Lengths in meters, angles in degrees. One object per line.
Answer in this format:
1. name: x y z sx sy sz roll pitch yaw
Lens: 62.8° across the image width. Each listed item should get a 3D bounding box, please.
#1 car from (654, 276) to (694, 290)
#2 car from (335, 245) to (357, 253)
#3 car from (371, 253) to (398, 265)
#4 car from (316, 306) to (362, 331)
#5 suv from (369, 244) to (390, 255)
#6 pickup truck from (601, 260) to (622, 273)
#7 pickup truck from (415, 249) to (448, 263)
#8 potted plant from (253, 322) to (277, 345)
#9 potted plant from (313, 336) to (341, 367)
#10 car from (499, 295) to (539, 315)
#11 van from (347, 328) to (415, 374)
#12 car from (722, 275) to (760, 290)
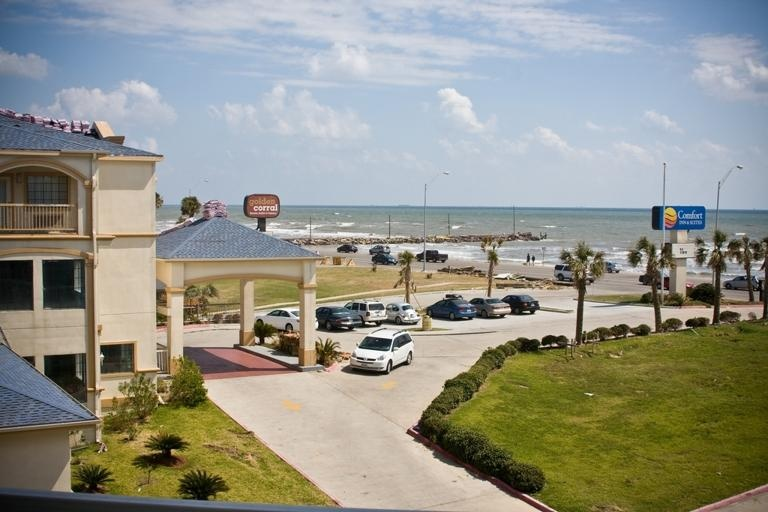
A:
1. car: 25.889 2.492 56.382 3.824 1.293 1.958 -3 3 16
2. car: -6.699 -1.148 106.612 2.854 1.069 1.631 8 9 35
3. car: -0.010 0.489 88.035 3.266 1.245 1.542 -2 4 10
4. car: -3.157 4.285 42.404 1.442 0.786 3.051 -3 7 -38
5. suv: -1.078 -0.907 101.557 3.212 1.398 1.740 5 6 22
6. pickup truck: 26.854 1.323 73.857 2.582 0.932 1.694 -4 8 -15
7. pickup truck: 6.953 0.147 95.730 4.284 1.415 2.226 3 3 19
8. potted plant: -7.274 4.678 38.057 1.382 1.303 1.326 3 1 -10
9. potted plant: -3.230 5.178 33.230 1.451 1.171 1.435 -2 -6 17
10. car: 10.433 3.800 49.300 1.379 0.853 2.823 -3 6 -33
11. van: -0.074 4.860 32.637 1.983 1.130 2.966 1 -1 25
12. car: 37.767 2.952 66.750 3.537 1.504 2.032 5 5 39
